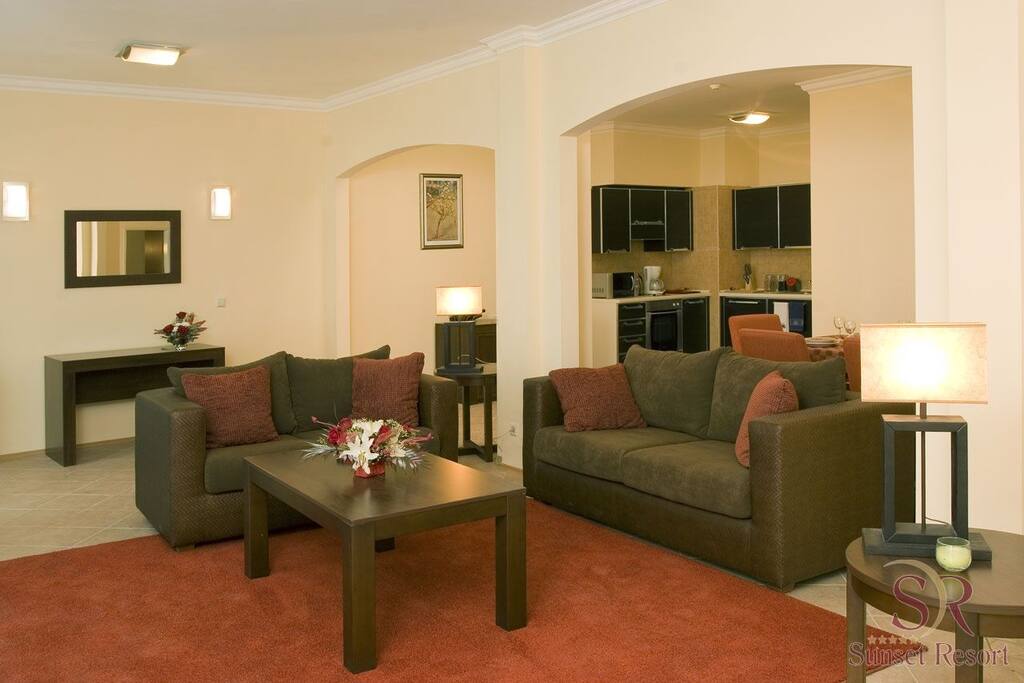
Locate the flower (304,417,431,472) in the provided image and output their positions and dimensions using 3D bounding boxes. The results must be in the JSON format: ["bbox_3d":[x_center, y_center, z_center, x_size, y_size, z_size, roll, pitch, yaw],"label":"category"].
[{"bbox_3d":[-0.794,0.624,4.784,0.483,0.183,0.472,-3,6,-41],"label":"flower"}]

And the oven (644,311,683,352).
[{"bbox_3d":[1.864,-0.131,10.269,0.595,0.573,0.469,0,0,-31],"label":"oven"}]

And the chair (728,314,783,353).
[{"bbox_3d":[2.173,-0.072,6.994,0.399,0.540,0.404,-1,-1,-19],"label":"chair"}]

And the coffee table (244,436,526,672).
[{"bbox_3d":[-0.656,0.864,4.367,1.039,0.730,1.517,0,1,-33],"label":"coffee table"}]

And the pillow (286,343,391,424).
[{"bbox_3d":[-1.395,0.347,6.177,0.585,0.398,0.198,-7,-13,-18],"label":"pillow"}]

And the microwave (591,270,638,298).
[{"bbox_3d":[1.243,-0.713,9.907,0.509,0.303,0.347,-2,2,-41],"label":"microwave"}]

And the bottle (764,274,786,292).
[{"bbox_3d":[3.559,-0.800,10.584,0.149,0.249,0.262,9,-10,-35],"label":"bottle"}]

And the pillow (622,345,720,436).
[{"bbox_3d":[1.168,0.389,5.776,0.213,0.416,0.595,-7,9,-45],"label":"pillow"}]

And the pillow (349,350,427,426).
[{"bbox_3d":[-0.960,0.376,5.934,0.564,0.524,0.198,0,-10,23],"label":"pillow"}]

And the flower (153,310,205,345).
[{"bbox_3d":[-3.371,-0.116,7.869,0.400,0.229,0.398,-1,-1,-44],"label":"flower"}]

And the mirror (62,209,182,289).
[{"bbox_3d":[-3.998,-0.941,7.853,0.874,0.617,0.033,-2,4,-31],"label":"mirror"}]

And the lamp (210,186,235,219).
[{"bbox_3d":[-3.071,-1.478,8.228,0.265,0.302,0.070,-2,6,-44],"label":"lamp"}]

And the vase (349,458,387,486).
[{"bbox_3d":[-0.826,0.768,4.556,0.105,0.126,0.193,-2,-1,42],"label":"vase"}]

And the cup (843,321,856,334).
[{"bbox_3d":[2.940,-0.125,6.822,0.069,0.131,0.353,6,15,27],"label":"cup"}]

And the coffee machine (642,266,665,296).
[{"bbox_3d":[1.842,-0.814,10.341,0.271,0.356,0.305,1,14,9],"label":"coffee machine"}]

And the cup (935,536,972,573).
[{"bbox_3d":[1.885,0.908,3.330,0.136,0.105,0.134,-1,-4,0],"label":"cup"}]

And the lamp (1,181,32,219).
[{"bbox_3d":[-4.711,-1.330,7.371,0.237,0.369,0.080,-10,16,-31],"label":"lamp"}]

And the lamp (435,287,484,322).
[{"bbox_3d":[-0.475,-0.349,7.163,0.363,0.261,0.339,-1,3,4],"label":"lamp"}]
